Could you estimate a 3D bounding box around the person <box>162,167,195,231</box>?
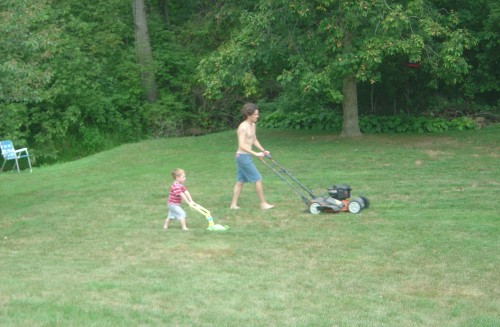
[{"bbox_3d":[-1.691,0.828,13.655,0.502,1.420,0.713,-7,6,-36],"label":"person"}]
